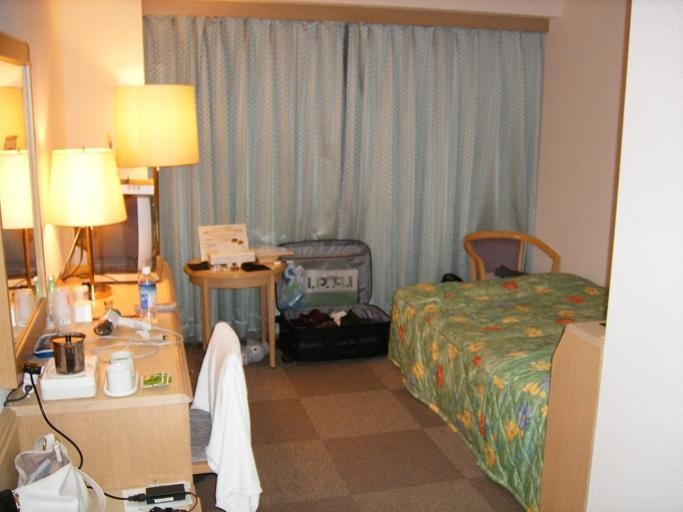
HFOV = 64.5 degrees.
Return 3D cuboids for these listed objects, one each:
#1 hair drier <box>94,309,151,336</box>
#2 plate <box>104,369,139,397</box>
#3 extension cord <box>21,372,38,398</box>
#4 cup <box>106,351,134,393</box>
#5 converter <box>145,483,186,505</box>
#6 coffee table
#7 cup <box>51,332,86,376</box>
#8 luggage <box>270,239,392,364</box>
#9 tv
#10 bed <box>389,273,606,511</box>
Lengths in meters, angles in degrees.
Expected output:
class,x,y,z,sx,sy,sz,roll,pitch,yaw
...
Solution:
class,x,y,z,sx,sy,sz,roll,pitch,yaw
hair drier,-0.981,0.303,2.436,0.216,0.103,0.129,7,9,-1
plate,-0.786,0.458,1.926,0.082,0.080,0.111,0,2,-21
extension cord,-1.103,0.455,1.920,0.049,0.089,0.028,4,-2,0
cup,-0.816,0.430,1.996,0.080,0.063,0.169,-1,7,-12
converter,-0.591,0.792,1.815,0.128,0.032,0.082,-4,10,-17
coffee table,-0.753,0.375,4.150,0.764,0.797,0.778,-1,10,-4
cup,-0.984,0.358,2.010,0.139,0.144,0.140,2,8,0
luggage,-0.088,0.318,4.291,0.844,0.836,0.767,-2,9,-16
tv,-1.331,-0.085,3.316,0.359,0.603,0.368,-4,-13,7
bed,1.134,0.665,3.260,1.186,0.808,1.734,-4,10,-15
